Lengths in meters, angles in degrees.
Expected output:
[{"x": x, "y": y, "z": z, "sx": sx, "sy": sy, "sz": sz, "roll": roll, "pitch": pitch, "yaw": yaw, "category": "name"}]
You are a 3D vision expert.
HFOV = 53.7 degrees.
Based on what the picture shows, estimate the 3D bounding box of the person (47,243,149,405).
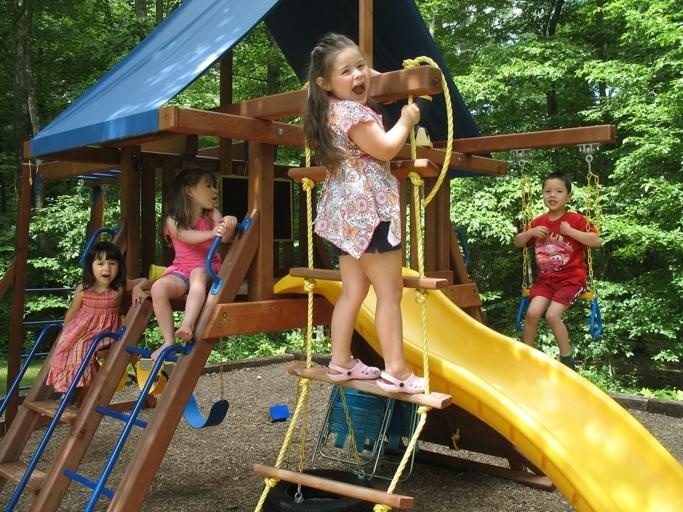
[{"x": -2.069, "y": 0.535, "z": 5.683, "sx": 0.744, "sy": 1.284, "sz": 0.863, "roll": 0, "pitch": 8, "yaw": -29, "category": "person"}]

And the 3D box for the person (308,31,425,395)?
[{"x": 0.131, "y": -0.290, "z": 4.205, "sx": 0.840, "sy": 2.166, "sz": 0.356, "roll": 4, "pitch": 6, "yaw": 6, "category": "person"}]

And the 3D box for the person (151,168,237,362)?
[{"x": -1.158, "y": 0.018, "z": 5.238, "sx": 0.610, "sy": 1.392, "sz": 0.937, "roll": 2, "pitch": 7, "yaw": -17, "category": "person"}]

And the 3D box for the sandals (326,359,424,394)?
[{"x": 0.223, "y": 0.762, "z": 4.226, "sx": 0.417, "sy": 0.177, "sz": 0.252, "roll": 7, "pitch": -7, "yaw": 11, "category": "sandals"}]
